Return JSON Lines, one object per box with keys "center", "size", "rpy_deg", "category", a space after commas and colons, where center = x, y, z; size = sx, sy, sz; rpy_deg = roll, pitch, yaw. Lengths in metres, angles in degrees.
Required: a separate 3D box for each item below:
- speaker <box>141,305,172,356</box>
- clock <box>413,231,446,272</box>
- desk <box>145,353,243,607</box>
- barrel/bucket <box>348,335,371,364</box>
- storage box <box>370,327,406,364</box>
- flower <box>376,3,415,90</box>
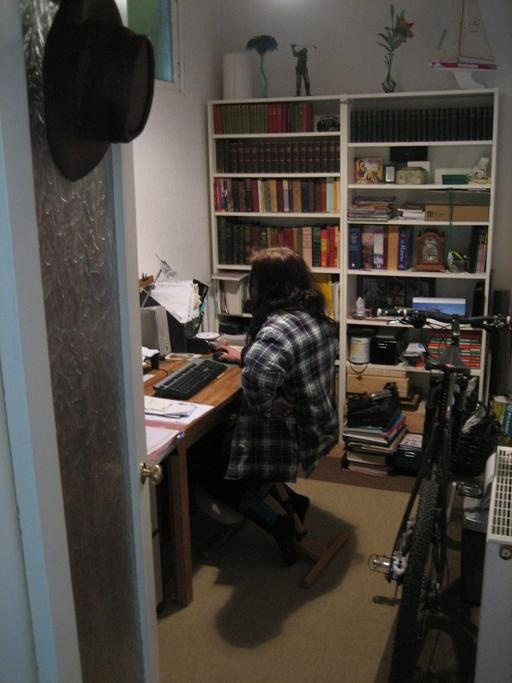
{"center": [-0.531, -0.058, 2.879], "size": [0.220, 0.278, 0.113], "rpy_deg": [-12, 15, -44], "category": "speaker"}
{"center": [1.147, -0.587, 3.514], "size": [0.247, 0.349, 0.244], "rpy_deg": [1, 6, 16], "category": "clock"}
{"center": [-0.272, 0.621, 2.340], "size": [0.440, 0.632, 0.918], "rpy_deg": [2, 18, 9], "category": "desk"}
{"center": [0.727, 0.057, 3.730], "size": [0.167, 0.189, 0.171], "rpy_deg": [0, 6, 0], "category": "barrel/bucket"}
{"center": [0.946, -0.028, 3.790], "size": [0.211, 0.277, 0.396], "rpy_deg": [3, 11, 17], "category": "storage box"}
{"center": [0.917, -1.920, 3.470], "size": [0.239, 0.609, 0.353], "rpy_deg": [1, 11, 11], "category": "flower"}
